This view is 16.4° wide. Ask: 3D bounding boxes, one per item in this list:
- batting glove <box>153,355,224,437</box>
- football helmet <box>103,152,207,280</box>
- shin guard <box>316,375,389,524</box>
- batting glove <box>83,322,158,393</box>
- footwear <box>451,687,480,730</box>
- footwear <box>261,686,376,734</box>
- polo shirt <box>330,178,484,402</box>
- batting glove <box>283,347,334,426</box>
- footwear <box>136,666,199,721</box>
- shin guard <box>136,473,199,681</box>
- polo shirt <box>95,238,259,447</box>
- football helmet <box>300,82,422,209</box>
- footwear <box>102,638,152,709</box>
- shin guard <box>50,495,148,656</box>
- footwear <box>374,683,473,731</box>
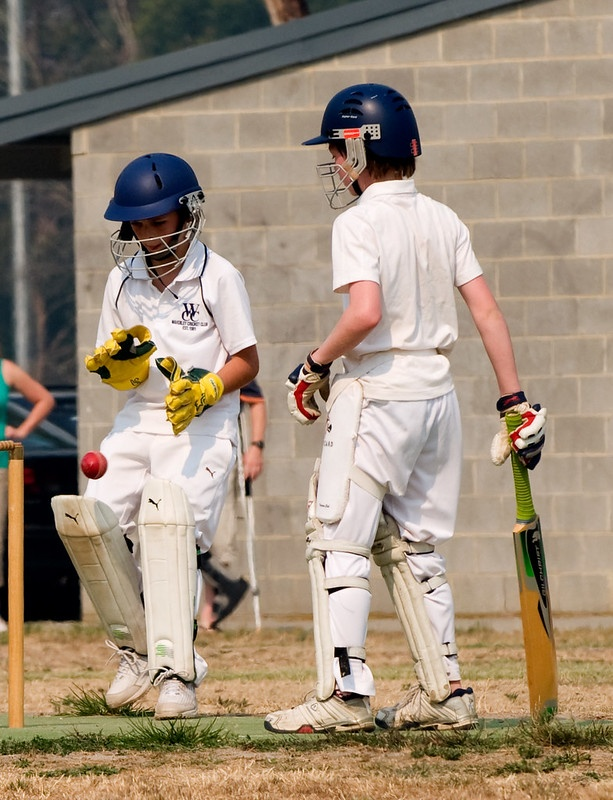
[{"bbox_3d":[-0.468,-0.019,8.500,0.142,0.304,0.275,20,-18,51],"label":"batting glove"},{"bbox_3d":[-0.630,-0.777,8.871,0.423,0.523,0.445,-5,20,6],"label":"football helmet"},{"bbox_3d":[0.139,0.197,8.413,0.275,0.513,0.164,-7,2,0],"label":"shin guard"},{"bbox_3d":[-0.765,-0.194,8.730,0.260,0.276,0.275,-10,5,-4],"label":"batting glove"},{"bbox_3d":[0.627,1.212,8.525,0.069,0.086,0.195,1,-1,-8],"label":"footwear"},{"bbox_3d":[0.050,1.231,8.430,0.458,0.210,0.164,1,-7,2],"label":"footwear"},{"bbox_3d":[0.376,-0.436,8.506,0.625,0.771,0.242,-8,2,-33],"label":"polo shirt"},{"bbox_3d":[-0.010,-0.046,8.461,0.112,0.265,0.196,9,4,-6],"label":"batting glove"},{"bbox_3d":[-0.570,1.194,8.681,0.190,0.222,0.452,0,-9,0],"label":"footwear"},{"bbox_3d":[-0.567,0.731,8.736,0.219,0.844,0.224,1,12,22],"label":"shin guard"},{"bbox_3d":[-0.589,-0.266,8.869,0.702,0.808,0.420,-3,27,-1],"label":"polo shirt"},{"bbox_3d":[0.234,-1.036,8.668,0.471,0.503,0.373,3,9,25],"label":"football helmet"},{"bbox_3d":[-0.746,1.132,8.971,0.132,0.163,0.332,-19,21,33],"label":"footwear"},{"bbox_3d":[-0.830,0.730,8.908,0.264,0.820,0.241,-13,25,0],"label":"shin guard"},{"bbox_3d":[0.472,1.242,8.525,0.400,0.173,0.159,-4,-9,32],"label":"footwear"}]
